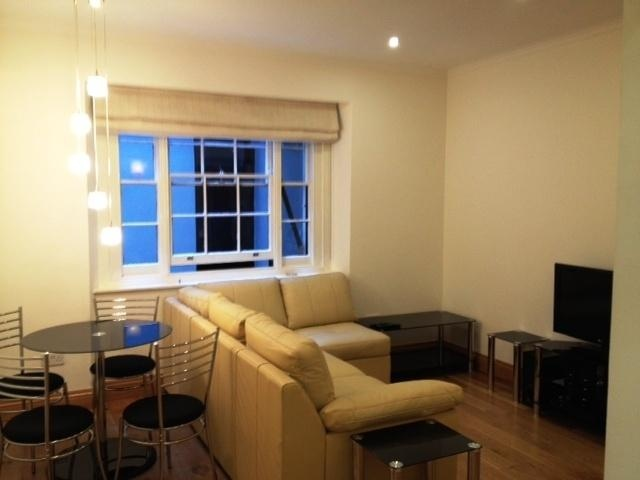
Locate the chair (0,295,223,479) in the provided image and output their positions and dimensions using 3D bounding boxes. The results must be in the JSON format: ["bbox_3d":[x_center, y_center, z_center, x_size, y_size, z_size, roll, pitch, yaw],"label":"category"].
[{"bbox_3d":[-1.520,1.160,3.752,1.221,1.059,1.235,2,8,-2],"label":"chair"}]

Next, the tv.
[{"bbox_3d":[2.159,0.556,4.232,0.081,0.809,0.791,0,0,-23],"label":"tv"}]
